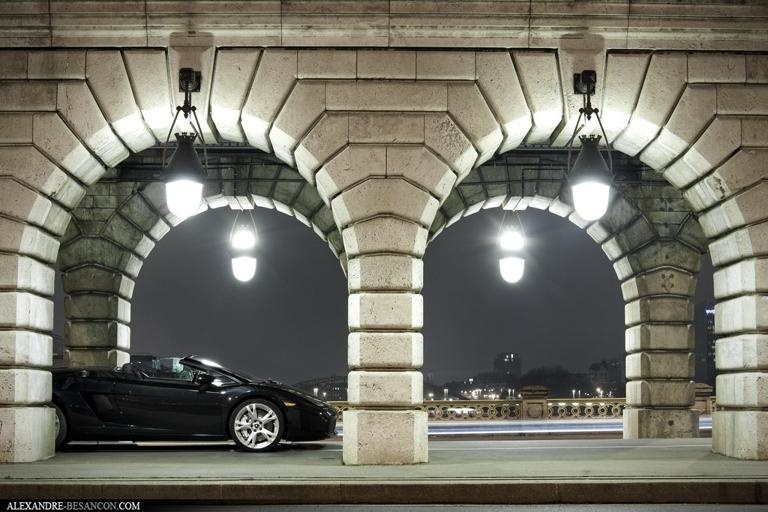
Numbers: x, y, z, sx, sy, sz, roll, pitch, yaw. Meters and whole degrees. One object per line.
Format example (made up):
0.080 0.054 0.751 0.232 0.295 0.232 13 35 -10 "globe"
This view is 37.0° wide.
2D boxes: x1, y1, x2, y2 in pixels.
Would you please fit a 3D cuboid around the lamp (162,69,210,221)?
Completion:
-3.284 -1.866 19.132 0.654 2.429 0.804 1 -14 -9 "lamp"

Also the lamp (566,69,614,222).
3.491 -1.724 19.620 0.709 2.514 1.731 -4 -14 11 "lamp"

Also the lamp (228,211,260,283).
-3.113 -0.274 25.448 0.533 1.758 1.695 1 -13 -8 "lamp"
